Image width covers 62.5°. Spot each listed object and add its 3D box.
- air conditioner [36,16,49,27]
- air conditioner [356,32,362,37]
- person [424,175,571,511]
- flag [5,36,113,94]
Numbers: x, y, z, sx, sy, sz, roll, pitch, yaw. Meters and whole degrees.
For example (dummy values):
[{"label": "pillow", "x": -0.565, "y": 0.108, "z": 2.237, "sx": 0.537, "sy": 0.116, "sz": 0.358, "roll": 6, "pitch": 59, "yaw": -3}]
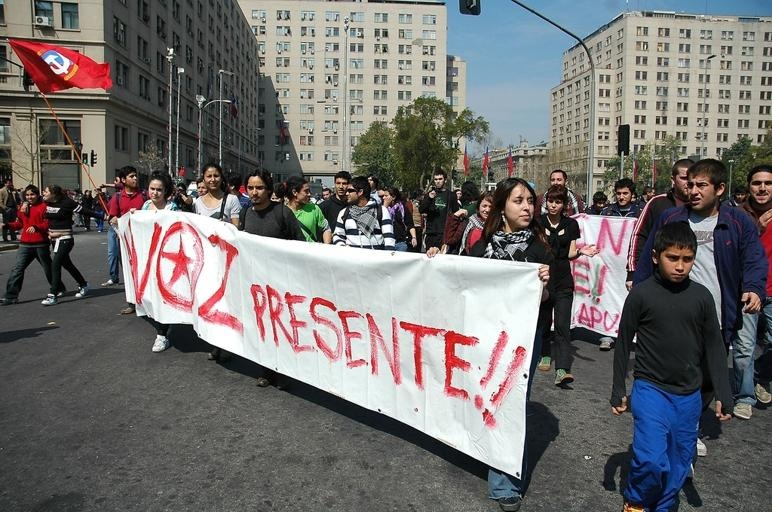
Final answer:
[{"label": "air conditioner", "x": -21.006, "y": -14.513, "z": 39.042, "sx": 0.874, "sy": 0.567, "sz": 0.471, "roll": -7, "pitch": 16, "yaw": -27}, {"label": "air conditioner", "x": -3.822, "y": -33.429, "z": 95.279, "sx": 0.804, "sy": 0.878, "sz": 0.288, "roll": 0, "pitch": 13, "yaw": 0}, {"label": "person", "x": 1.091, "y": 0.719, "z": 6.139, "sx": 0.903, "sy": 2.766, "sz": 1.074, "roll": 1, "pitch": 1, "yaw": 29}, {"label": "flag", "x": -7.523, "y": -4.382, "z": 14.728, "sx": 1.866, "sy": 1.129, "sz": 0.916, "roll": -9, "pitch": 17, "yaw": -32}]
